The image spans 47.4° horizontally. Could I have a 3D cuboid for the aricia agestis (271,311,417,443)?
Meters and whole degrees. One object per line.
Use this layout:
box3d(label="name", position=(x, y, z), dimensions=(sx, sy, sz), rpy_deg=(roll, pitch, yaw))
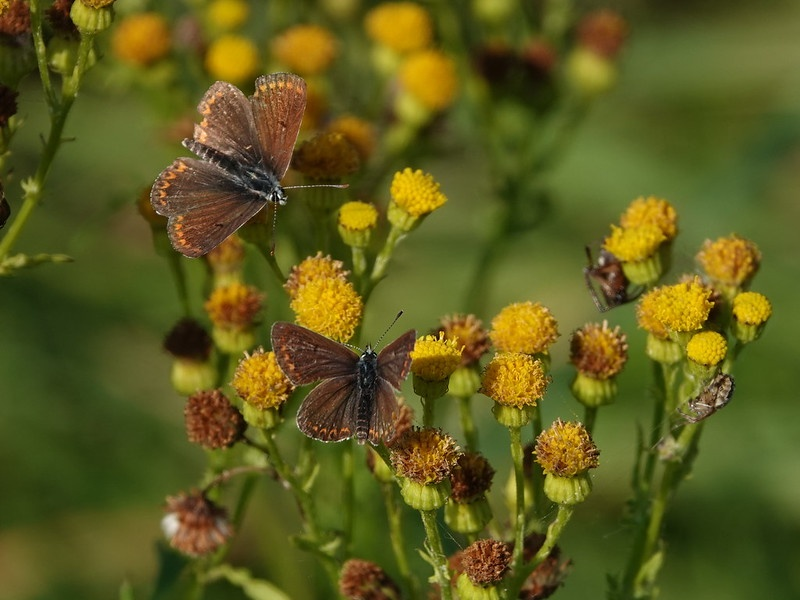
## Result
box3d(label="aricia agestis", position=(-0.046, 0.096, 0.985), dimensions=(0.163, 0.141, 0.094), rpy_deg=(15, 9, 14))

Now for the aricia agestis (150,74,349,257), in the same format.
box3d(label="aricia agestis", position=(-0.208, -0.177, 1.080), dimensions=(0.193, 0.148, 0.152), rpy_deg=(-27, 46, -25))
